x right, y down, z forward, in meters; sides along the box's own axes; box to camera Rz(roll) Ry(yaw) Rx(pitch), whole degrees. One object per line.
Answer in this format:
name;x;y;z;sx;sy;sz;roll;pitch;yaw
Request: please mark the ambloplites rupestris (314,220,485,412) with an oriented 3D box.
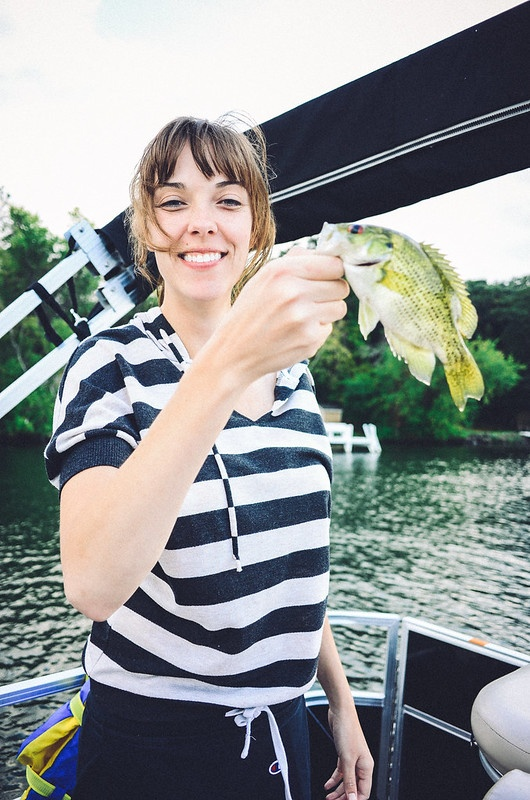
ambloplites rupestris;0.349;-0.239;1.764;0.157;0.562;0.298;-6;-34;-35
